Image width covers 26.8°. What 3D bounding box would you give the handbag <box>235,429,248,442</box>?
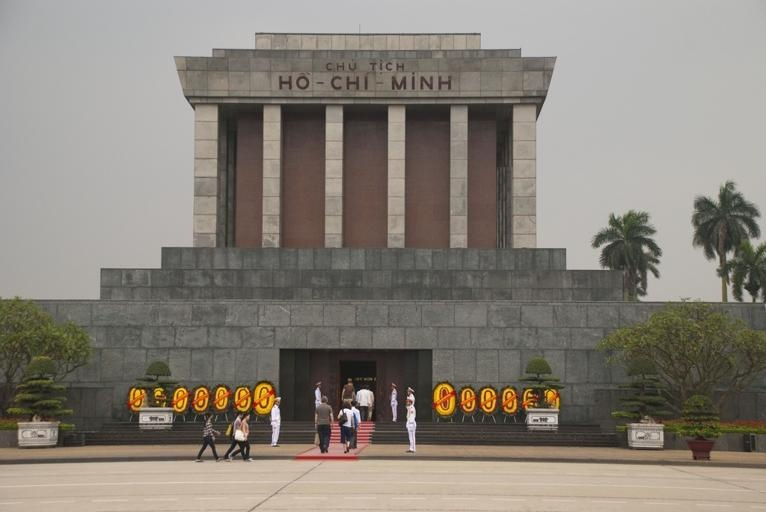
[{"bbox_3d":[-6.830,8.740,77.282,0.464,0.595,0.582,9,-12,-25],"label":"handbag"}]

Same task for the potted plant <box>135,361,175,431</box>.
[{"bbox_3d":[-12.265,7.811,87.462,1.901,3.747,1.545,5,-21,-22],"label":"potted plant"}]

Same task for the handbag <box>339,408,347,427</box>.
[{"bbox_3d":[-1.882,8.017,78.987,0.382,0.775,0.545,-3,-13,7],"label":"handbag"}]

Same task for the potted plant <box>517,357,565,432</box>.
[{"bbox_3d":[8.675,7.743,87.593,2.505,3.723,1.943,0,-10,4],"label":"potted plant"}]

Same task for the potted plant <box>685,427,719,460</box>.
[{"bbox_3d":[16.028,9.700,81.122,1.687,1.276,1.378,0,-15,7],"label":"potted plant"}]
